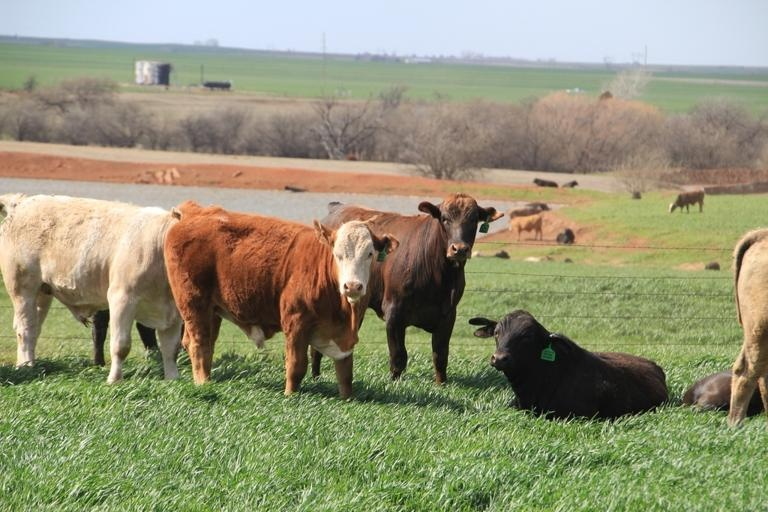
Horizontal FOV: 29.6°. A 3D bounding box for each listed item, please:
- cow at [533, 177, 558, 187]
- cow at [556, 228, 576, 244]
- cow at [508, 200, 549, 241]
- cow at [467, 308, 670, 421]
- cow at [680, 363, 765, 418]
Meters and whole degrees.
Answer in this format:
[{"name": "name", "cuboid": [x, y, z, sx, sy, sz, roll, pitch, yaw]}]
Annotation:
[{"name": "cow", "cuboid": [5.526, -2.572, 50.720, 0.784, 0.368, 0.200, 9, 15, 4]}, {"name": "cow", "cuboid": [6.178, -0.646, 49.279, 0.366, 0.449, 0.691, 5, -12, -40]}, {"name": "cow", "cuboid": [4.893, -1.228, 49.707, 1.455, 1.211, 0.436, 0, 9, -16]}, {"name": "cow", "cuboid": [4.792, 2.516, 36.922, 3.980, 2.836, 7.187, 0, -1, 16]}, {"name": "cow", "cuboid": [8.020, 3.345, 35.578, 2.453, 1.292, 0.812, -3, -1, 11]}]
